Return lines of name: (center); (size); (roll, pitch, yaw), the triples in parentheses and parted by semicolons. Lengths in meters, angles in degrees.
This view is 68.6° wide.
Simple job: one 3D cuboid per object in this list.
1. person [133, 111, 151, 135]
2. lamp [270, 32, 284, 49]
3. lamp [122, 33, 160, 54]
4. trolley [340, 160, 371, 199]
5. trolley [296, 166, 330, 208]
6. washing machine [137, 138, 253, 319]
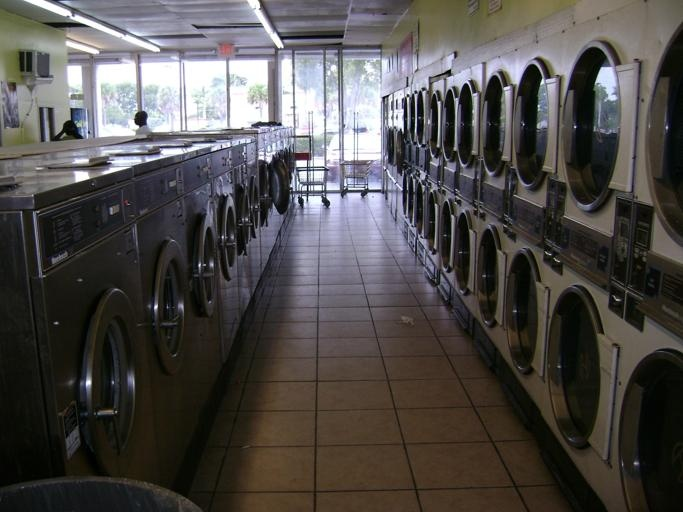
person: (-3.117, -2.095, 7.810); (0.179, 0.297, 0.892); (-6, 16, -20)
lamp: (-1.273, -4.429, 10.098); (0.094, 0.397, 0.389); (-13, 6, -12)
lamp: (-4.228, -4.504, 10.540); (0.109, 0.067, 0.736); (-29, -6, 11)
trolley: (0.348, -1.955, 12.256); (0.659, 0.859, 0.684); (-4, 24, -10)
trolley: (-0.644, -1.562, 10.966); (0.933, 1.270, 1.052); (-2, 9, -4)
washing machine: (-0.800, -0.147, 2.744); (0.489, 1.114, 1.041); (0, 17, 0)
